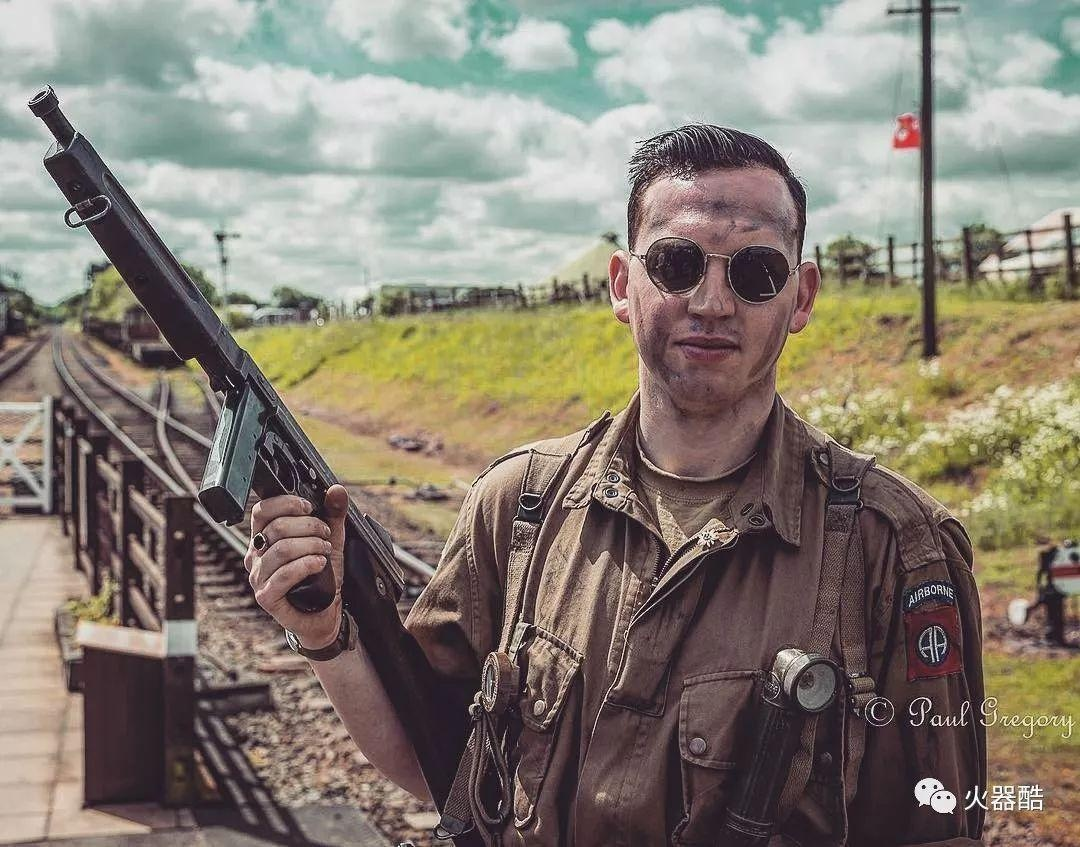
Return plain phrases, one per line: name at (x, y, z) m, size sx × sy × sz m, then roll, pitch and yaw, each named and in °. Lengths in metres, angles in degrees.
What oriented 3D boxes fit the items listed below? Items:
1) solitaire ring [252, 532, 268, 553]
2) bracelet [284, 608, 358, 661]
solitaire ring at (-0.863, 0.366, 3.731) m, size 0.051 × 0.057 × 0.012 m, roll 10°, pitch 5°, yaw 33°
bracelet at (-0.715, 0.675, 3.954) m, size 0.194 × 0.082 × 0.230 m, roll -3°, pitch 38°, yaw 13°
